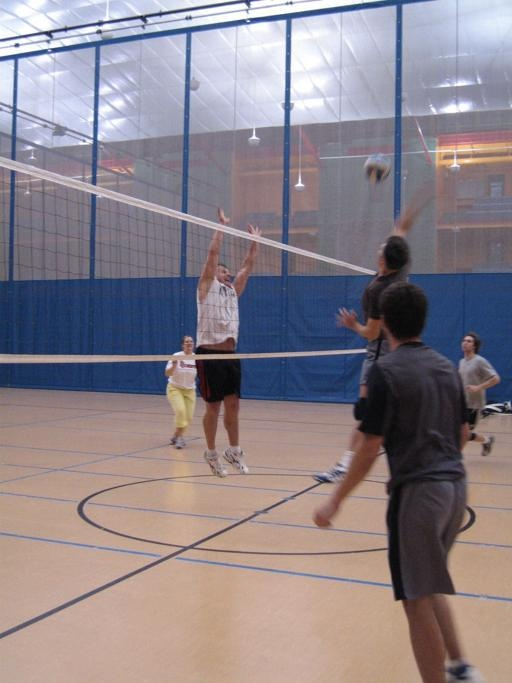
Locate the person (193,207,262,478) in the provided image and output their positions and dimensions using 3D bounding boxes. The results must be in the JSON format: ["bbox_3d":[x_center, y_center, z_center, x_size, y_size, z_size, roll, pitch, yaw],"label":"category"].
[{"bbox_3d":[-0.222,0.022,4.906,0.475,2.082,0.911,1,5,-5],"label":"person"}]

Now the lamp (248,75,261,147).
[{"bbox_3d":[-0.030,-4.248,12.015,0.232,1.106,0.108,2,5,5],"label":"lamp"}]

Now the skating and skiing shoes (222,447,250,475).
[{"bbox_3d":[-0.160,0.917,4.882,0.170,0.241,0.080,-40,8,23],"label":"skating and skiing shoes"}]

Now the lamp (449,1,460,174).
[{"bbox_3d":[3.404,-4.340,10.808,0.185,2.918,0.309,2,5,13],"label":"lamp"}]

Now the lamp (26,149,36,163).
[{"bbox_3d":[-4.808,-3.996,13.708,0.219,0.220,0.221,6,5,32],"label":"lamp"}]

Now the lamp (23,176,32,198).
[{"bbox_3d":[-4.891,-3.294,13.583,0.282,0.380,0.112,4,5,32],"label":"lamp"}]

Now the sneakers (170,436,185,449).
[{"bbox_3d":[-0.758,0.959,6.148,0.142,0.141,0.278,0,5,-9],"label":"sneakers"}]
